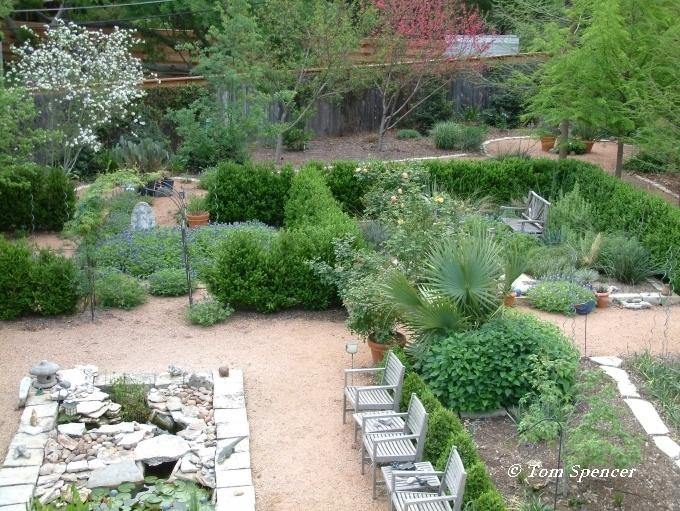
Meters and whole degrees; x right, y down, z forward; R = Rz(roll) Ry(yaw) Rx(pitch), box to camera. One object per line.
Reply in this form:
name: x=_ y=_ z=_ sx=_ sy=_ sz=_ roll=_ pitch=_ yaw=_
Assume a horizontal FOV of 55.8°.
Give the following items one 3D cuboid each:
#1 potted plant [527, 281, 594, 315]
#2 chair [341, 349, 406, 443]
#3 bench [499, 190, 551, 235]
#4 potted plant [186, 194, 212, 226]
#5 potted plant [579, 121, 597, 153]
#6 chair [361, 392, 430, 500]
potted plant: x=4.158 y=0.773 z=12.165 sx=0.696 sy=0.417 sz=0.814 roll=-4 pitch=9 yaw=-12
chair: x=0.470 y=1.962 z=8.911 sx=0.651 sy=1.095 sz=0.762 roll=1 pitch=7 yaw=-11
bench: x=4.276 y=-0.930 z=15.502 sx=0.809 sy=1.250 sz=1.690 roll=9 pitch=4 yaw=31
potted plant: x=-3.507 y=-1.122 z=15.861 sx=0.659 sy=0.727 sz=0.545 roll=-9 pitch=19 yaw=-24
potted plant: x=9.439 y=-4.509 z=24.422 sx=0.524 sy=1.086 sz=1.290 roll=5 pitch=18 yaw=20
chair: x=0.696 y=2.368 z=8.148 sx=0.655 sy=1.075 sz=0.803 roll=1 pitch=8 yaw=-7
